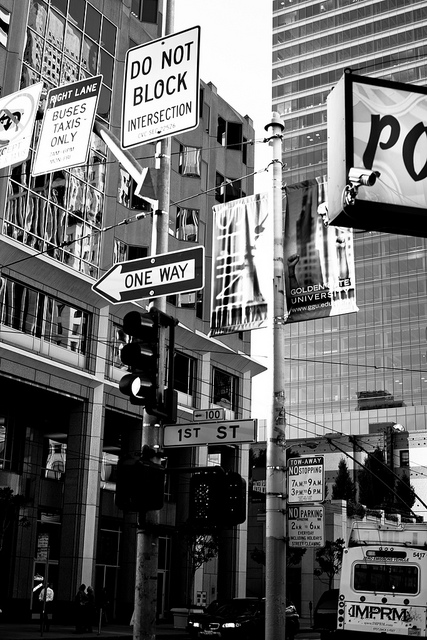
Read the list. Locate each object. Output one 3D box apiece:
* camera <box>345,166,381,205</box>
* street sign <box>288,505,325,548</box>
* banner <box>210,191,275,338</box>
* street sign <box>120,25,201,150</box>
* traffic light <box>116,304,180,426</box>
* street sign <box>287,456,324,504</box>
[{"bbox_3d":[1.220,-1.101,7.918,0.282,0.310,0.096,-2,-14,12],"label":"camera"},{"bbox_3d":[1.455,3.265,15.088,0.585,0.791,0.101,0,-35,7],"label":"street sign"},{"bbox_3d":[0.505,-1.110,19.574,0.710,3.226,1.999,6,-16,-22],"label":"banner"},{"bbox_3d":[-0.654,-2.859,12.033,1.059,1.679,0.047,-11,-30,21],"label":"street sign"},{"bbox_3d":[-0.670,0.551,10.213,0.331,1.288,0.573,-12,-23,35],"label":"traffic light"},{"bbox_3d":[1.539,2.681,15.893,0.656,0.889,0.094,-17,-37,36],"label":"street sign"}]
